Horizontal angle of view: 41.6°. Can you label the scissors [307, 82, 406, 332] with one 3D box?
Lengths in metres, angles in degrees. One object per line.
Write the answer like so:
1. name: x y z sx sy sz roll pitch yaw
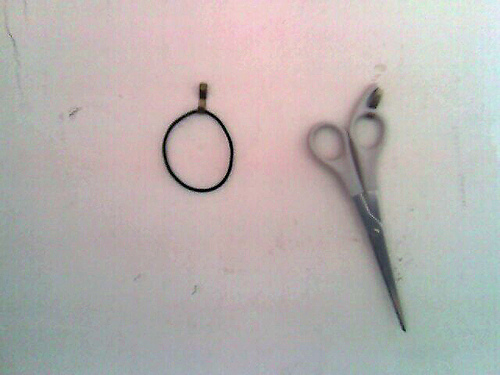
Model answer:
1. scissors: 0.329 0.046 1.791 0.198 0.064 0.641 -17 -93 4
